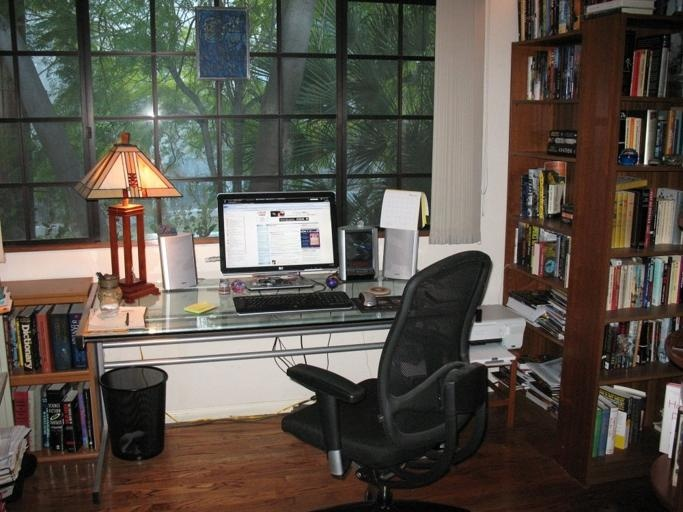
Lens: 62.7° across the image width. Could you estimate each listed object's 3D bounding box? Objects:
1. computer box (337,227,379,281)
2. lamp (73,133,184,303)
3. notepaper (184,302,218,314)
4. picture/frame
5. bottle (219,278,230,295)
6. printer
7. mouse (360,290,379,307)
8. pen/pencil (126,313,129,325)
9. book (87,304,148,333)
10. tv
[{"bbox_3d":[0.098,-0.017,3.443,0.275,0.382,0.314,-1,1,-8],"label":"computer box"},{"bbox_3d":[-1.254,-0.246,3.307,0.529,0.943,0.509,-10,10,-28],"label":"lamp"},{"bbox_3d":[-0.773,0.276,3.007,0.158,0.030,0.147,0,10,30],"label":"notepaper"},{"bbox_3d":[-0.770,-1.364,3.534,0.455,0.529,0.039,-2,9,-14],"label":"picture/frame"},{"bbox_3d":[-0.682,0.182,3.305,0.081,0.105,0.077,0,-1,0],"label":"bottle"},{"bbox_3d":[1.014,0.503,3.627,0.347,0.246,0.473,0,14,8],"label":"printer"},{"bbox_3d":[0.142,0.235,3.049,0.065,0.052,0.090,-1,5,-9],"label":"mouse"},{"bbox_3d":[-1.100,0.315,2.862,0.019,0.006,0.131,3,16,-16],"label":"pen/pencil"},{"bbox_3d":[-1.157,0.315,2.863,0.276,0.090,0.254,-8,9,-18],"label":"book"},{"bbox_3d":[-0.387,-0.107,3.338,0.566,0.428,0.195,-2,11,-9],"label":"tv"}]
